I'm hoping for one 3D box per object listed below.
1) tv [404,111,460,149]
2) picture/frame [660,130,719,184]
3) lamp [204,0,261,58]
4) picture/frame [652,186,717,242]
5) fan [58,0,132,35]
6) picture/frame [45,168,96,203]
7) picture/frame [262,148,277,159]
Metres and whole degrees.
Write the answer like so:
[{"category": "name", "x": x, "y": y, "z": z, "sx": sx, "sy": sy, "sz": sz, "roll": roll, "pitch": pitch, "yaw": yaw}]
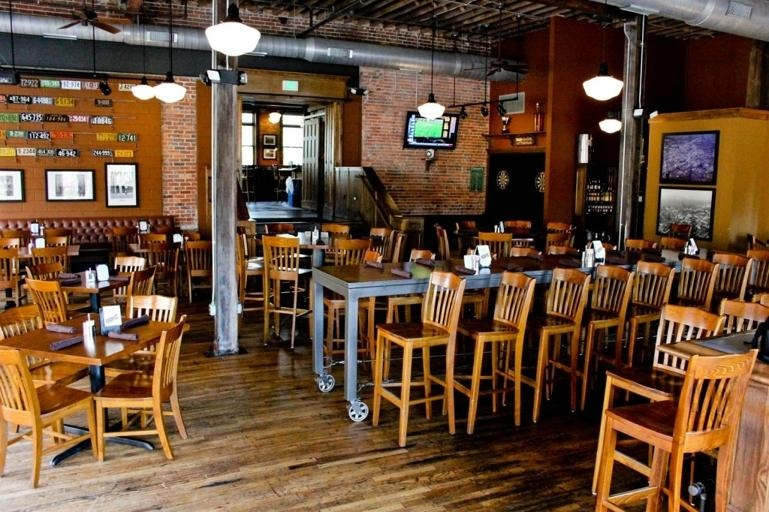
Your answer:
[{"category": "tv", "x": 1.159, "y": -3.127, "z": 14.884, "sx": 1.637, "sy": 0.828, "sz": 0.128, "roll": -5, "pitch": 18, "yaw": -35}, {"category": "picture/frame", "x": 5.806, "y": -1.882, "z": 11.325, "sx": 0.085, "sy": 1.025, "sz": 1.183, "roll": -9, "pitch": 12, "yaw": -38}, {"category": "lamp", "x": -1.506, "y": -2.312, "z": 6.050, "sx": 0.482, "sy": 0.571, "sz": 0.630, "roll": -1, "pitch": 10, "yaw": -3}, {"category": "picture/frame", "x": 5.755, "y": -0.810, "z": 11.397, "sx": 0.052, "sy": 1.087, "sz": 1.265, "roll": -8, "pitch": 12, "yaw": -36}, {"category": "fan", "x": -5.265, "y": -4.301, "z": 10.846, "sx": 1.198, "sy": 0.357, "sz": 0.916, "roll": 10, "pitch": 31, "yaw": 8}, {"category": "picture/frame", "x": -6.198, "y": -1.399, "z": 11.733, "sx": 0.844, "sy": 0.558, "sz": 0.059, "roll": -1, "pitch": 4, "yaw": -26}, {"category": "picture/frame", "x": -3.891, "y": -3.454, "z": 20.129, "sx": 0.471, "sy": 0.330, "sz": 0.034, "roll": -5, "pitch": 13, "yaw": -32}]
